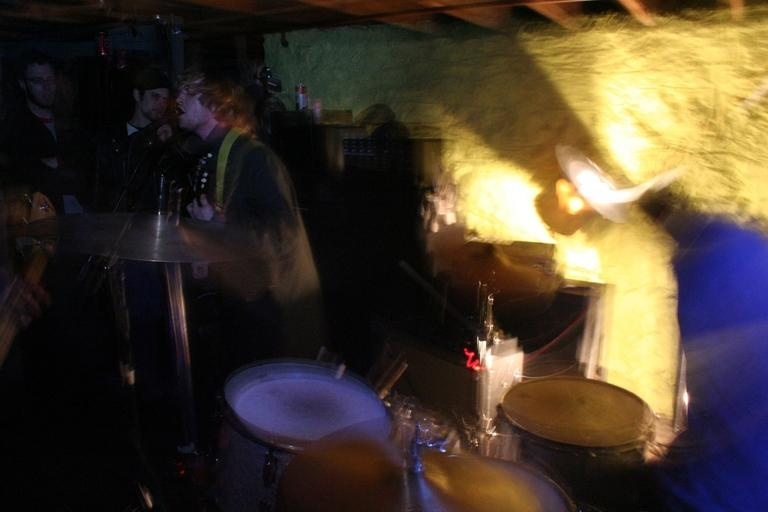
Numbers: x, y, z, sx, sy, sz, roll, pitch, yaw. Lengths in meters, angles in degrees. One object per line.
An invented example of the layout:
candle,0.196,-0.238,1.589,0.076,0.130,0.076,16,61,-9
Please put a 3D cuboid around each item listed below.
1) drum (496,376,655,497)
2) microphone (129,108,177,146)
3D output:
drum,1.077,0.932,3.744,0.686,0.520,0.642,3,14,-1
microphone,-1.929,-1.074,5.565,0.445,0.307,0.115,-2,-15,0
